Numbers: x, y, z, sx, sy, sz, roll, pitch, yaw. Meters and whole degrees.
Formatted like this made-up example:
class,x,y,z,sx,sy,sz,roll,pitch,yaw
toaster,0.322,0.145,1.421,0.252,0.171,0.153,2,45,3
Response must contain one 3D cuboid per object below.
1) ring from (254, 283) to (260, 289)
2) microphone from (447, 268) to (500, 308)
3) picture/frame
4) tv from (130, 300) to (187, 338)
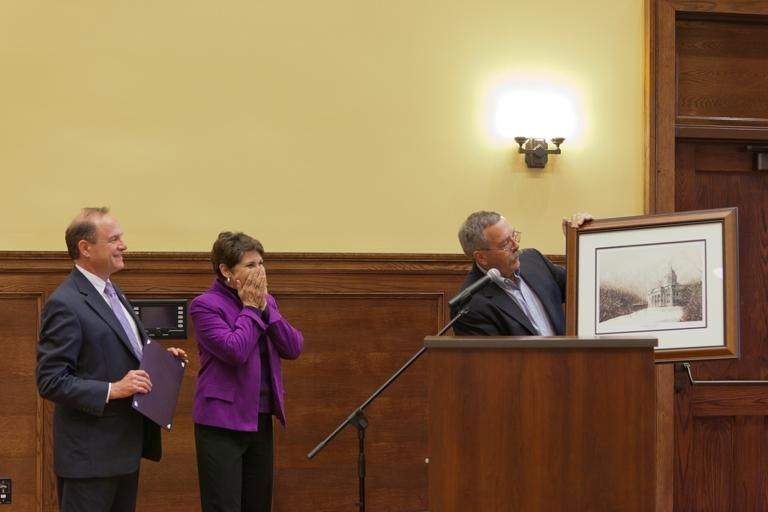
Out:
class,x,y,z,sx,sy,sz,roll,pitch,yaw
ring,-0.785,0.191,6.015,0.035,0.032,0.009,0,-2,-9
microphone,0.509,0.183,5.416,0.226,0.202,0.239,3,-7,-40
picture/frame,1.543,0.192,5.582,1.053,0.963,0.077,-3,-15,16
tv,-1.551,0.431,6.632,0.270,0.194,0.043,-1,-1,-2
